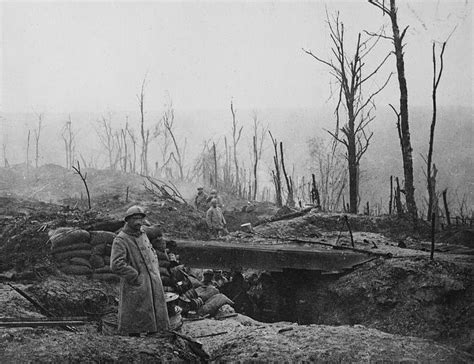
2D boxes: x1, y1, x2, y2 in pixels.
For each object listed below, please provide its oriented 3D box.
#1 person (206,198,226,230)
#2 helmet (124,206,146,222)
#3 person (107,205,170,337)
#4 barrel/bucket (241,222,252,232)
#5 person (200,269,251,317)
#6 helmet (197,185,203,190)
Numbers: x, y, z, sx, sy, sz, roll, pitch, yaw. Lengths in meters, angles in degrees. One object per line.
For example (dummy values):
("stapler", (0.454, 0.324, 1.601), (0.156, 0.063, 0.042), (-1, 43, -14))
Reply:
("person", (-0.836, 1.265, 21.737), (0.747, 1.365, 1.041), (1, 8, -3))
("helmet", (-2.298, 0.743, 12.193), (0.377, 0.251, 0.373), (8, -15, -27))
("person", (-2.200, 1.990, 12.098), (1.229, 2.814, 0.741), (-1, 8, -14))
("barrel/bucket", (0.433, 1.832, 21.110), (0.366, 0.244, 0.413), (0, 4, 4))
("person", (-0.244, 3.380, 15.550), (0.999, 1.015, 2.251), (4, 9, 15))
("helmet", (-1.758, 0.287, 25.926), (0.208, 0.173, 0.235), (-2, 0, 1))
